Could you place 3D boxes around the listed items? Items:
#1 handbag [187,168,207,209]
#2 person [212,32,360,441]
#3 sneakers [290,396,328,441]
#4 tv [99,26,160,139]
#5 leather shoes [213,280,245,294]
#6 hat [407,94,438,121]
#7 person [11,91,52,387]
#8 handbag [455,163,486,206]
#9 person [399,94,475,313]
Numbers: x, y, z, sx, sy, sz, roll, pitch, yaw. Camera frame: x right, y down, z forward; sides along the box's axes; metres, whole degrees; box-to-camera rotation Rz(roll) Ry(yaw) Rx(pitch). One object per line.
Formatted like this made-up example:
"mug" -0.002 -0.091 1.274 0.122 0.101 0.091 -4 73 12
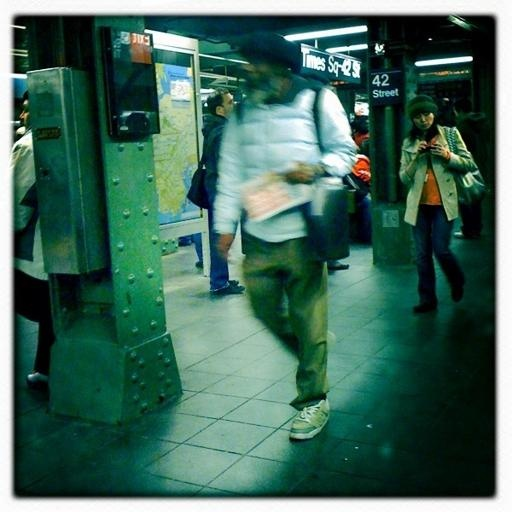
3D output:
"handbag" -0.632 -0.715 5.656 0.217 0.448 0.165 -4 8 -8
"person" 0.215 -0.059 2.652 0.585 2.000 0.328 -2 8 8
"sneakers" 0.272 0.855 2.754 0.098 0.123 0.294 -5 -6 29
"tv" -0.698 -0.951 2.996 0.081 0.609 0.371 2 9 31
"leather shoes" -0.317 0.393 6.281 0.410 0.168 0.135 -8 17 -17
"hat" 1.563 -1.381 4.969 0.258 0.231 0.284 0 8 17
"person" -1.512 0.077 3.531 0.210 1.716 0.380 -7 9 -29
"handbag" 2.040 -0.653 5.082 0.258 0.465 0.339 -4 -9 0
"person" 1.713 -0.479 5.028 0.648 2.021 0.437 -1 8 16
